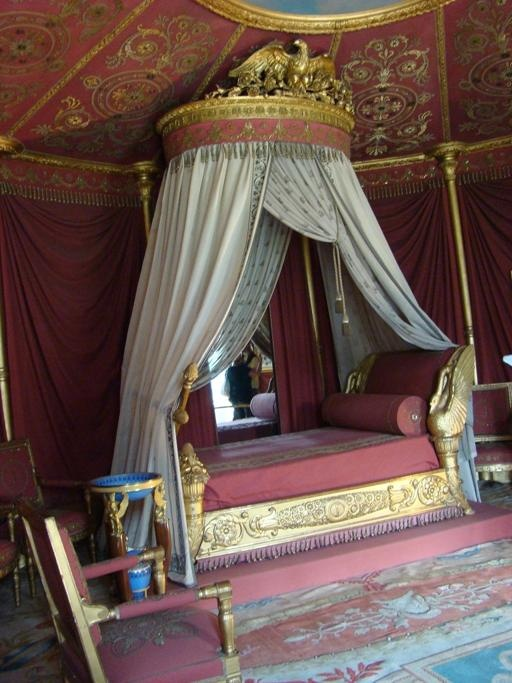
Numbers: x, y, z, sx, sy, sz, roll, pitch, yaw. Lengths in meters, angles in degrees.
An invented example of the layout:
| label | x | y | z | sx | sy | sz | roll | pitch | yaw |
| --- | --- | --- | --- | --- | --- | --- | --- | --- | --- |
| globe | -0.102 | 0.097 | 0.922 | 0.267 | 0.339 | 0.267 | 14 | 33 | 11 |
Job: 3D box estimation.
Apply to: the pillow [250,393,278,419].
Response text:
| label | x | y | z | sx | sy | sz | roll | pitch | yaw |
| --- | --- | --- | --- | --- | --- | --- | --- | --- | --- |
| pillow | 0.065 | 0.538 | 4.217 | 0.218 | 0.202 | 0.246 | -6 | -1 | -44 |

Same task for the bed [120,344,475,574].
| label | x | y | z | sx | sy | sz | roll | pitch | yaw |
| --- | --- | --- | --- | --- | --- | --- | --- | --- | --- |
| bed | 0.338 | 0.578 | 3.288 | 1.619 | 0.964 | 1.157 | -2 | -2 | -21 |

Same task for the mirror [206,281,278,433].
| label | x | y | z | sx | sy | sz | roll | pitch | yaw |
| --- | --- | --- | --- | --- | --- | --- | --- | --- | --- |
| mirror | -0.119 | 0.362 | 3.898 | 0.646 | 0.587 | 0.154 | -9 | 9 | -39 |

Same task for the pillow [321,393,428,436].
| label | x | y | z | sx | sy | sz | roll | pitch | yaw |
| --- | --- | --- | --- | --- | --- | --- | --- | --- | --- |
| pillow | 0.851 | 0.493 | 3.561 | 0.213 | 0.214 | 0.761 | -3 | 0 | -20 |

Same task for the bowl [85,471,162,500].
| label | x | y | z | sx | sy | sz | roll | pitch | yaw |
| --- | --- | --- | --- | --- | --- | --- | --- | --- | --- |
| bowl | -0.646 | 0.697 | 2.528 | 0.235 | 0.068 | 0.234 | -1 | -3 | 0 |
